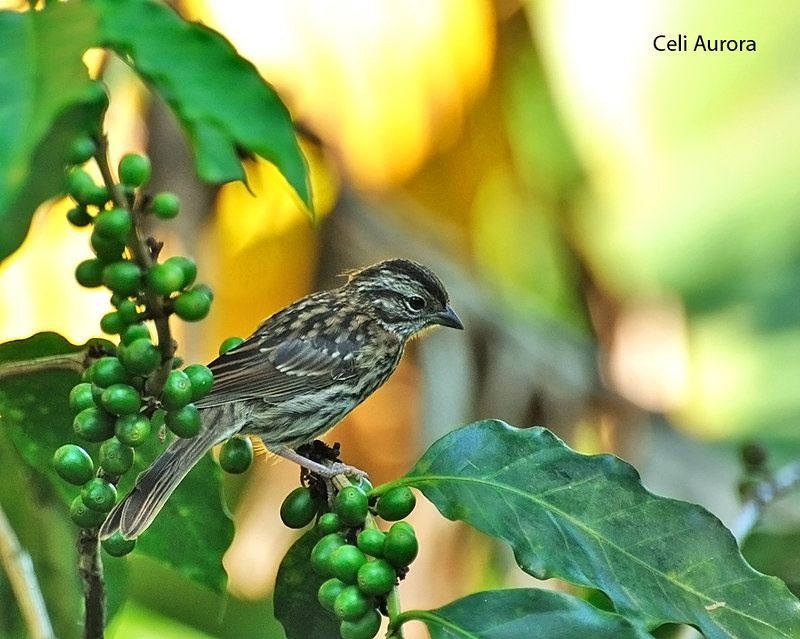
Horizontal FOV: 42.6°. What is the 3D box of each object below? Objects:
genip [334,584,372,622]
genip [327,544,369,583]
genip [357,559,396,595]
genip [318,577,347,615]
[{"bbox_3d":[-0.125,0.739,2.680,0.091,0.083,0.070,5,20,18],"label":"genip"},{"bbox_3d":[-0.140,0.644,2.762,0.087,0.107,0.093,-16,8,46],"label":"genip"},{"bbox_3d":[-0.060,0.662,2.663,0.073,0.077,0.099,-1,-3,28],"label":"genip"},{"bbox_3d":[-0.185,0.742,2.749,0.096,0.076,0.073,-2,12,-5],"label":"genip"}]
